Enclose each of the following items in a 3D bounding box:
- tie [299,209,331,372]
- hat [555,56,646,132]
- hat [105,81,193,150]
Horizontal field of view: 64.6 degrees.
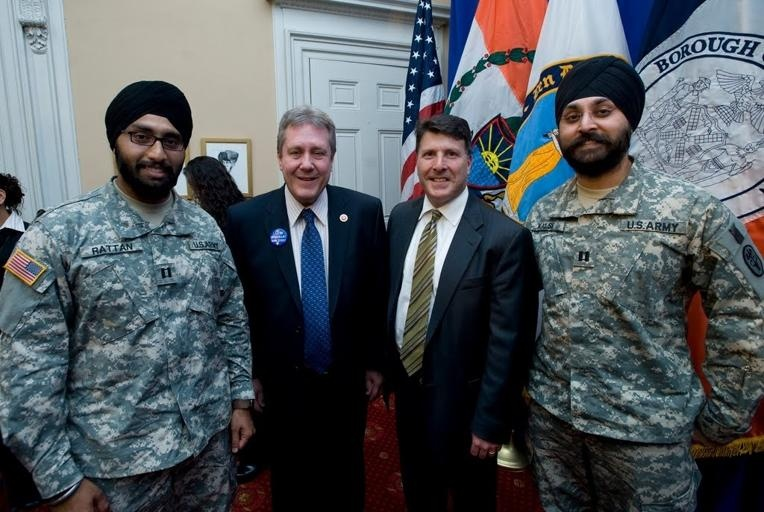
[{"bbox_3d":[-0.329,0.166,2.903,0.139,0.758,0.177,-1,9,-9],"label":"tie"},{"bbox_3d":[1.010,-0.690,2.758,0.277,0.334,0.369,-1,-15,44],"label":"hat"},{"bbox_3d":[-0.981,-0.621,2.652,0.346,0.269,0.322,5,1,-35],"label":"hat"}]
